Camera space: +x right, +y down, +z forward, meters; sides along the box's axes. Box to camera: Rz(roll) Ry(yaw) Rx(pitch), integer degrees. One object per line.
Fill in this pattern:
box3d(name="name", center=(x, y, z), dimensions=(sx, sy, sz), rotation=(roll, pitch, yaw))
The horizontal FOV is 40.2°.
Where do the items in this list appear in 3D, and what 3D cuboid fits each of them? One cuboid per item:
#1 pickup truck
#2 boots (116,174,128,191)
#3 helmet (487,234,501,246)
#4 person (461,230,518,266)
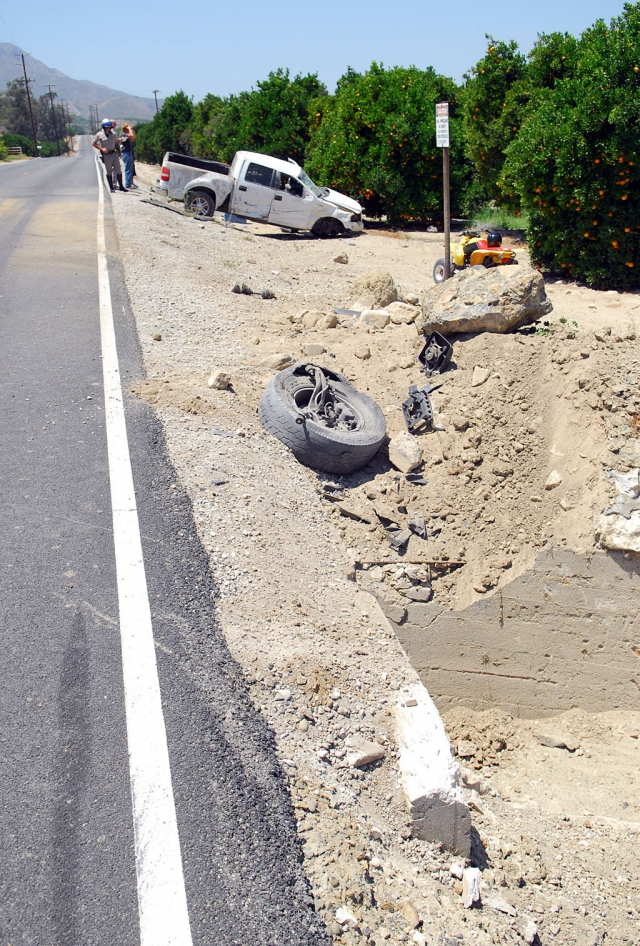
box3d(name="pickup truck", center=(-1.338, -6.474, 19.728), dimensions=(4.684, 1.609, 1.934), rotation=(8, 46, -12))
box3d(name="boots", center=(-5.069, -7.434, 22.405), dimensions=(0.177, 0.479, 0.345), rotation=(5, -6, -21))
box3d(name="helmet", center=(2.414, -3.206, 12.001), dimensions=(0.140, 0.181, 0.180), rotation=(19, 39, 24))
box3d(name="person", center=(2.334, -3.143, 12.214), dimensions=(0.419, 0.539, 0.956), rotation=(-5, 26, -16))
